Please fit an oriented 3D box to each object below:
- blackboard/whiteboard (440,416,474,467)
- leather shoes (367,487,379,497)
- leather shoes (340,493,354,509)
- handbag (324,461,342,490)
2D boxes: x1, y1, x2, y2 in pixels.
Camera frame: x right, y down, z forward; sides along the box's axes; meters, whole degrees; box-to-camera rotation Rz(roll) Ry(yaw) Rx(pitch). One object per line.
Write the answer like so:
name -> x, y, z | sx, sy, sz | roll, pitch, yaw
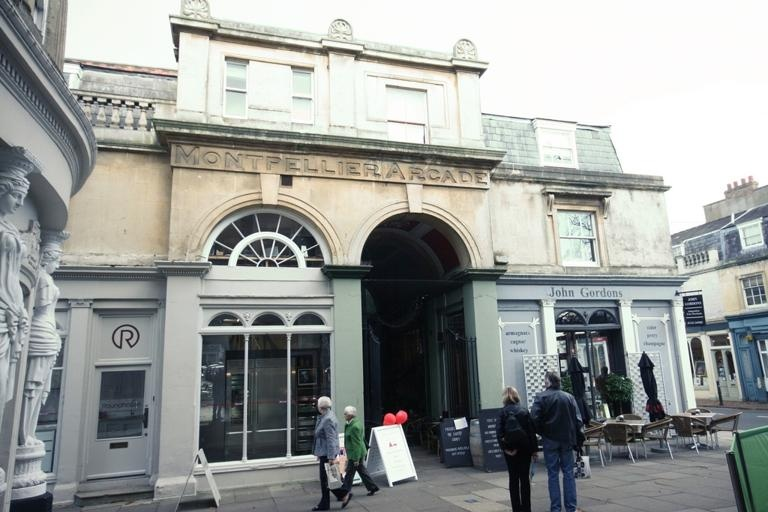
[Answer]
blackboard/whiteboard -> 2.054, 5.282, 15.734 | 0.910, 1.314, 0.223 | 1, -16, -15
leather shoes -> -0.199, 5.691, 13.424 | 0.381, 0.272, 0.127 | 13, -23, -30
leather shoes -> -0.832, 5.492, 12.576 | 0.155, 0.403, 0.144 | 35, -67, -14
handbag -> -1.113, 4.866, 12.305 | 0.380, 0.598, 0.375 | 4, -17, -23
